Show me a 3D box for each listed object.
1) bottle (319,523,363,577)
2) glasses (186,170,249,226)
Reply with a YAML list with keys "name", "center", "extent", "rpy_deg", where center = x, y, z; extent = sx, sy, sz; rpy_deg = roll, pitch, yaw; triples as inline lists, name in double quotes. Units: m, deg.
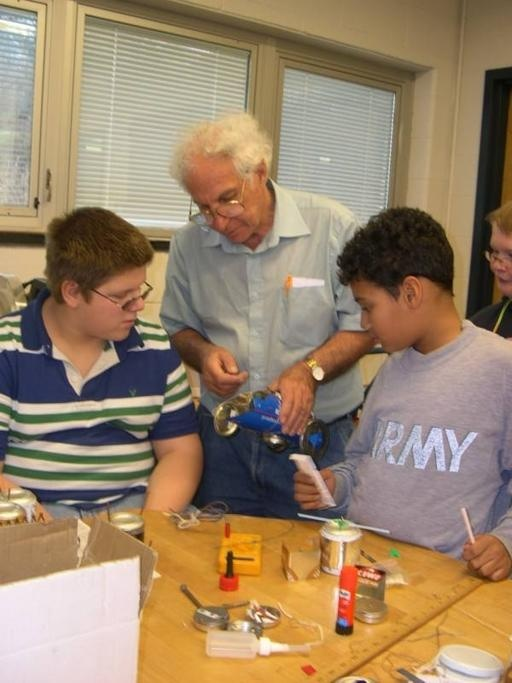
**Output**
- name: "bottle"
  center: [0.151, 0.366, 1.060]
  extent: [0.077, 0.079, 0.076]
  rpy_deg: [4, 9, 26]
- name: "glasses"
  center: [-0.095, -0.382, 1.565]
  extent: [0.045, 0.114, 0.126]
  rpy_deg: [-5, -28, -20]
